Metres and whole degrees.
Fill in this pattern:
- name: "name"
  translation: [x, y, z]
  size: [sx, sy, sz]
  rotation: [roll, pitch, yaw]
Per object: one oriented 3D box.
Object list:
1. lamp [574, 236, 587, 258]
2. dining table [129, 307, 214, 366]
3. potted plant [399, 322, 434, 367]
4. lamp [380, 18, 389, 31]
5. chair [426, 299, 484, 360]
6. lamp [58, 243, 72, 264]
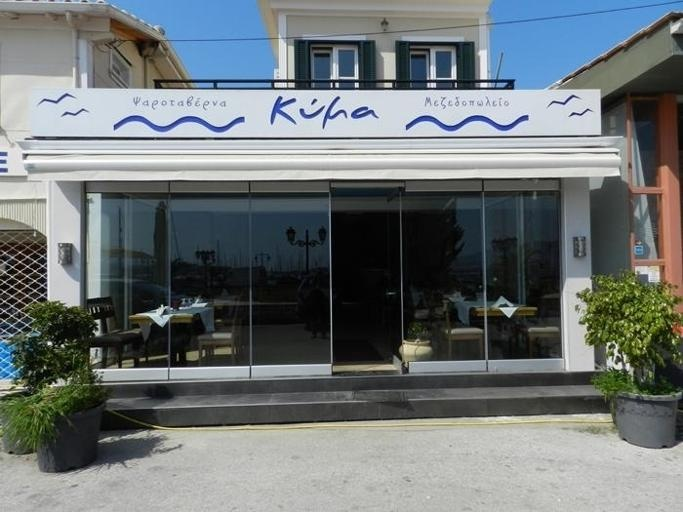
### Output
- name: "lamp"
  translation: [4.505, -0.169, 12.249]
  size: [0.249, 0.400, 0.085]
  rotation: [-2, -3, -13]
- name: "dining table"
  translation: [-3.130, 1.474, 12.490]
  size: [1.153, 1.135, 1.176]
  rotation: [-1, -6, 1]
- name: "potted plant"
  translation: [1.378, 1.651, 12.467]
  size: [0.674, 0.942, 0.702]
  rotation: [-2, -7, 27]
- name: "lamp"
  translation: [1.021, -5.445, 15.284]
  size: [0.216, 0.335, 0.110]
  rotation: [-2, -3, -7]
- name: "chair"
  translation: [2.209, 1.484, 13.064]
  size: [1.050, 1.704, 0.989]
  rotation: [0, -3, 4]
- name: "lamp"
  translation: [-5.057, -0.025, 11.897]
  size: [0.259, 0.402, 0.093]
  rotation: [-2, -3, -16]
